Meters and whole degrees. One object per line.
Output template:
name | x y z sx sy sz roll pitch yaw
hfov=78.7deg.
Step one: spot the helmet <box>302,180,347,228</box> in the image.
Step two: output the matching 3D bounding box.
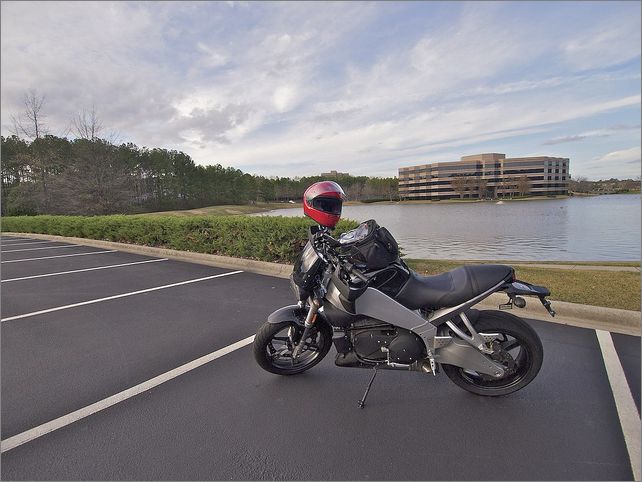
helmet | 0.026 -0.422 4.545 0.498 0.537 0.441 10 7 31
